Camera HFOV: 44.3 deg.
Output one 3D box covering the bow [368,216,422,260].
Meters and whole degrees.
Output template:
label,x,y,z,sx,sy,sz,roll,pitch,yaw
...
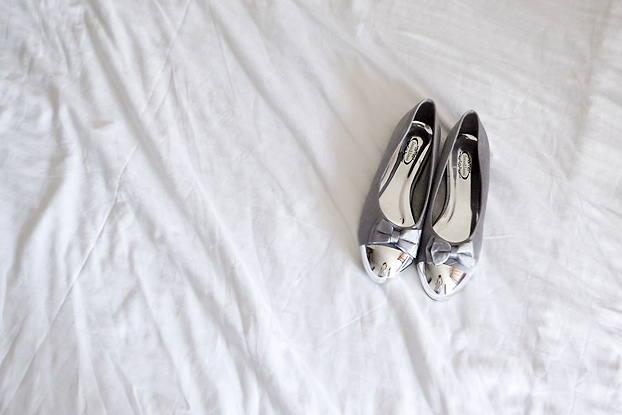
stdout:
label,x,y,z,sx,sy,sz,roll,pitch,yaw
bow,0.263,0.093,2.407,0.159,0.052,0.094,14,82,9
